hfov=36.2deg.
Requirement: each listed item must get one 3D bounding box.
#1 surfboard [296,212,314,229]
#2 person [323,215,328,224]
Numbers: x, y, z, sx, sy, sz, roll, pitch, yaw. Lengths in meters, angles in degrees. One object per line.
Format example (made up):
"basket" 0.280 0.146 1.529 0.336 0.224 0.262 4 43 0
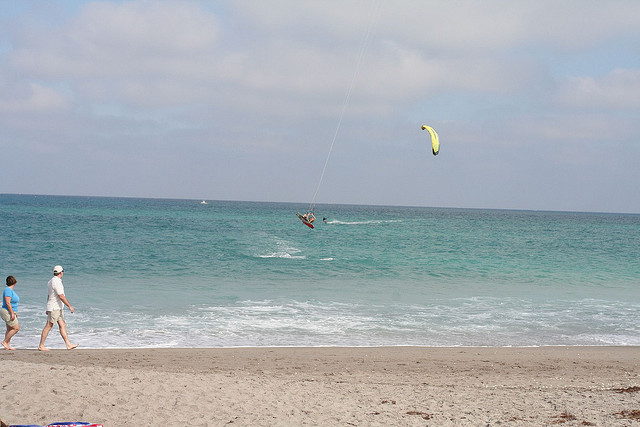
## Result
"surfboard" -0.872 0.509 72.160 0.568 0.394 2.219 38 -2 41
"person" 0.781 0.857 127.769 0.342 0.883 0.207 6 9 -38
